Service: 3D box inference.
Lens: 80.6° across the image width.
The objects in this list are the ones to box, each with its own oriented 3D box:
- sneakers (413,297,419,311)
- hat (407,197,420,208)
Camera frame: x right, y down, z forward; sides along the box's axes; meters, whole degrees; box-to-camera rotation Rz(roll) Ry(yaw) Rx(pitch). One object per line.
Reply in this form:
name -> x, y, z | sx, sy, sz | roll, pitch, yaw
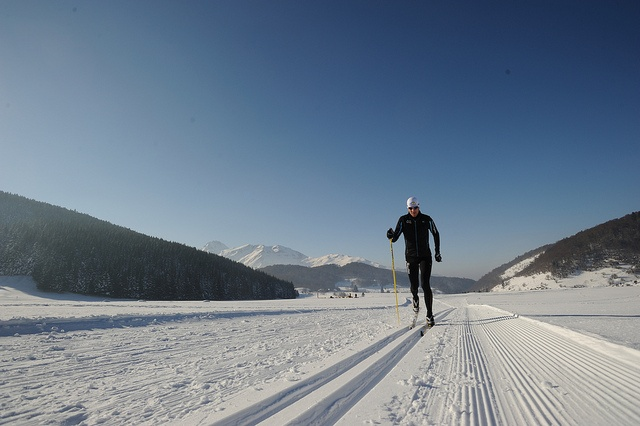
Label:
sneakers -> 2.853, 2.713, 11.059 | 0.134, 0.423, 0.210 | -4, 0, 6
hat -> 2.589, -0.245, 10.433 | 0.262, 0.366, 0.697 | -2, -18, 10
